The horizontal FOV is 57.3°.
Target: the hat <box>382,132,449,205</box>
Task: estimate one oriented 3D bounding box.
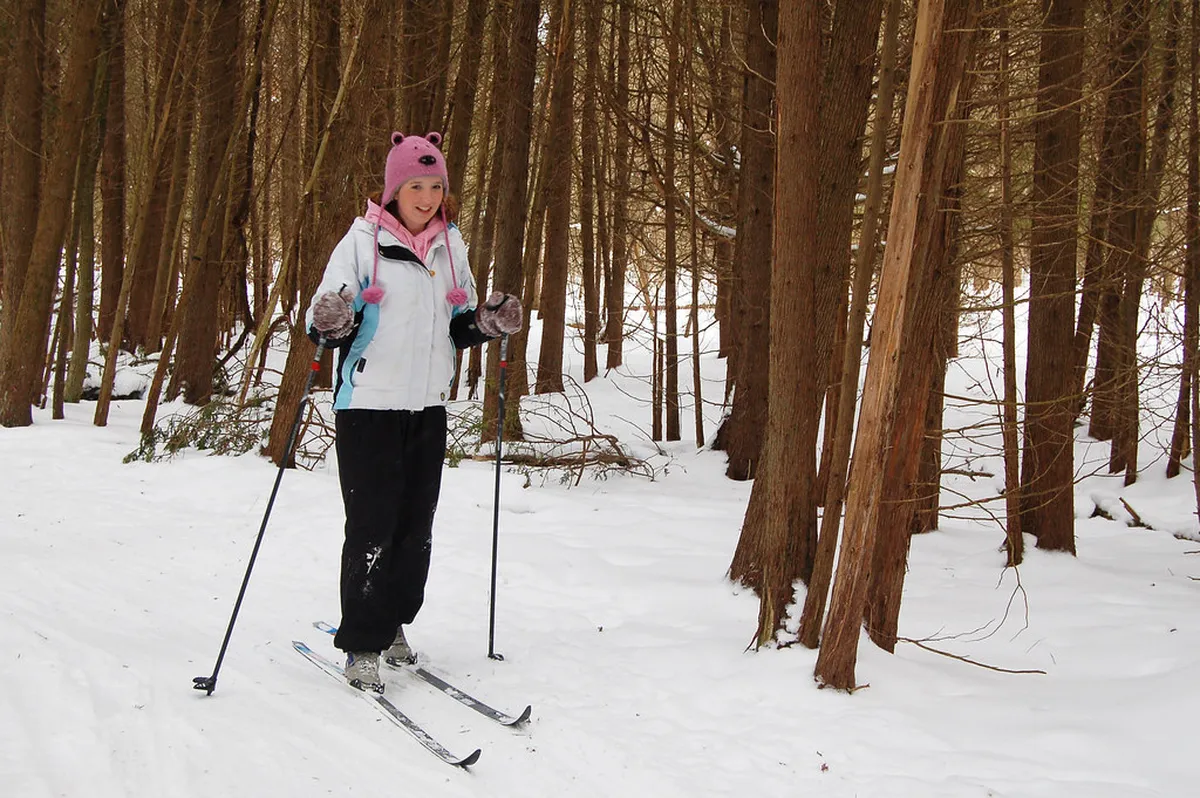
[{"bbox_3d":[-1.421,-1.748,8.414,0.528,0.632,0.598,-7,18,-29],"label":"hat"}]

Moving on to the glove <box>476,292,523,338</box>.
[{"bbox_3d":[-0.776,-0.678,8.514,0.318,0.372,0.287,-2,19,-9],"label":"glove"}]

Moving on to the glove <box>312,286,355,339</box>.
[{"bbox_3d":[-1.896,-0.605,7.828,0.251,0.387,0.141,7,5,-9],"label":"glove"}]
